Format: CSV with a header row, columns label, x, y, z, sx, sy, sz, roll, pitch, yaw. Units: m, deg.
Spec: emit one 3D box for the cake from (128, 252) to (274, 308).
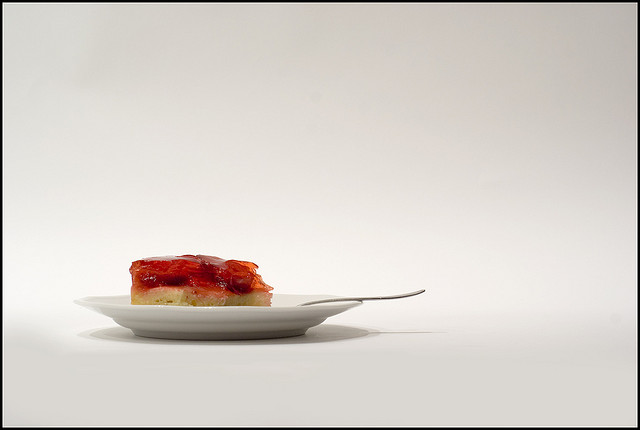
label,x,y,z,sx,sy,sz,roll,pitch,yaw
cake,-0.256,0.137,1.388,0.298,0.084,0.215,1,-3,12
